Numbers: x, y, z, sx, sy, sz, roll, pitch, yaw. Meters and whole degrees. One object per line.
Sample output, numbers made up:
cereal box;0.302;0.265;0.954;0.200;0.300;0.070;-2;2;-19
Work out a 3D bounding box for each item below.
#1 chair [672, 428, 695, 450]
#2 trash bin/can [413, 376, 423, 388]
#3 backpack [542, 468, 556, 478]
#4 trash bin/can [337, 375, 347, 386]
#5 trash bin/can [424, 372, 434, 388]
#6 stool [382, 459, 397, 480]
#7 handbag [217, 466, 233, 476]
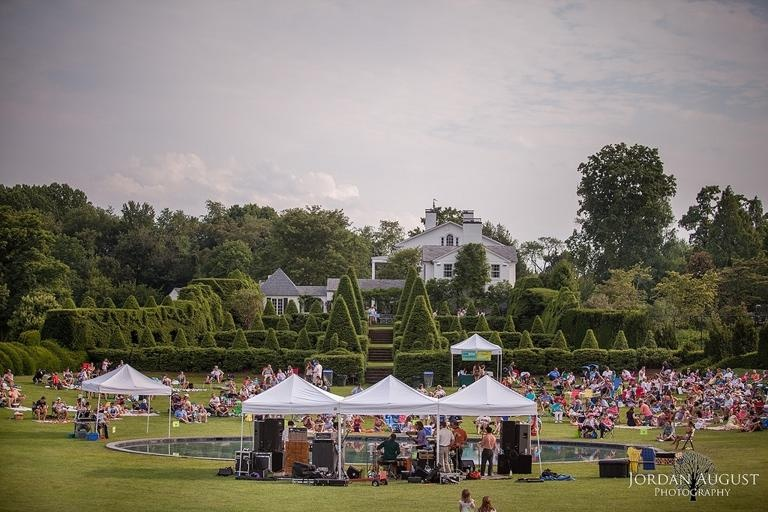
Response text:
chair;17.876;10.939;75.129;1.178;1.278;2.232;-2;-12;13
trash bin/can;2.552;9.516;94.903;0.890;0.892;0.875;0;-7;-5
backpack;9.076;12.024;69.738;0.612;0.600;0.397;-2;-2;4
trash bin/can;-3.169;9.407;95.284;0.882;0.889;0.665;1;0;16
trash bin/can;3.368;9.309;95.093;0.786;1.384;1.018;1;9;4
stool;0.120;11.923;70.721;0.916;1.227;0.962;1;-9;-2
handbag;-8.831;12.009;70.210;0.868;0.550;0.581;2;-12;-9
